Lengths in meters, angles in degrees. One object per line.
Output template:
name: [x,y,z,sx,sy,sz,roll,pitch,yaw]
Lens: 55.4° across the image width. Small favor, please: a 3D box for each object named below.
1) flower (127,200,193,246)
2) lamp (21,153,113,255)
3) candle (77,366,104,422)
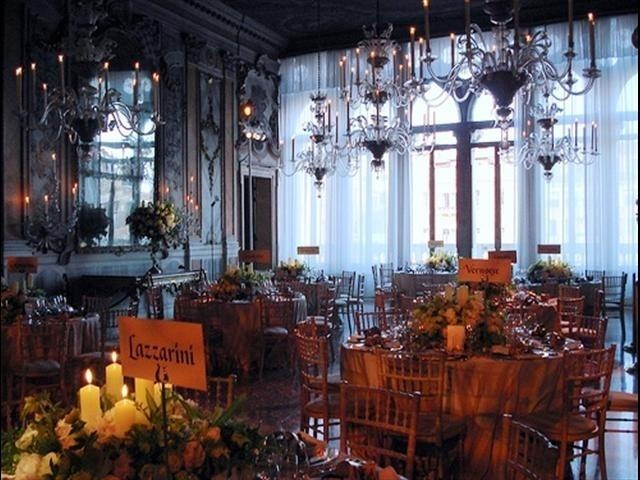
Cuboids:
flower: [-2.475,-0.279,9.351,0.698,0.760,0.805,3,3,2]
lamp: [-3.685,-0.434,8.813,1.040,1.847,1.022,-5,9,-44]
candle: [-1.149,0.764,3.055,0.060,0.200,0.068,-11,5,2]
